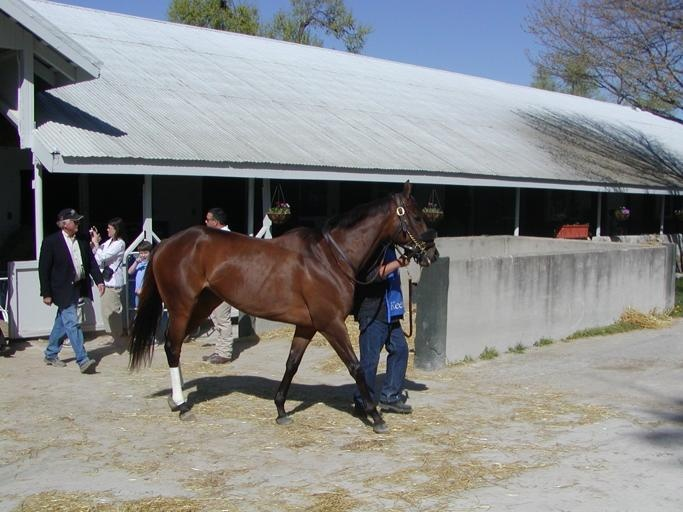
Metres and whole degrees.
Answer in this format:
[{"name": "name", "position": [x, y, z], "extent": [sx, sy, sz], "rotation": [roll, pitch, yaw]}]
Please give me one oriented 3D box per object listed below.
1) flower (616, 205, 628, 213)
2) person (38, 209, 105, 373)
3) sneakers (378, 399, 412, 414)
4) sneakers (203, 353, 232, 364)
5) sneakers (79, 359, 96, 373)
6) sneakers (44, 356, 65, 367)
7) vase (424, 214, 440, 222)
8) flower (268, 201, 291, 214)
[{"name": "flower", "position": [8.161, -1.372, 23.458], "extent": [0.311, 0.181, 0.322], "rotation": [-3, 23, -10]}, {"name": "person", "position": [-3.632, 0.503, 10.832], "extent": [0.816, 2.145, 1.063], "rotation": [-3, 12, -18]}, {"name": "sneakers", "position": [0.633, 1.795, 9.603], "extent": [0.367, 0.178, 0.153], "rotation": [-1, 2, 5]}, {"name": "sneakers", "position": [-1.779, 1.484, 11.521], "extent": [0.290, 0.132, 0.174], "rotation": [13, -5, -21]}, {"name": "sneakers", "position": [-3.349, 1.450, 10.608], "extent": [0.118, 0.124, 0.257], "rotation": [24, -34, 3]}, {"name": "sneakers", "position": [-3.934, 1.449, 11.050], "extent": [0.284, 0.148, 0.120], "rotation": [4, 5, 5]}, {"name": "vase", "position": [1.852, -0.793, 16.539], "extent": [0.372, 0.241, 0.402], "rotation": [1, -2, 4]}, {"name": "flower", "position": [-1.137, -0.879, 14.212], "extent": [0.246, 0.105, 0.256], "rotation": [-2, -1, 40]}]
